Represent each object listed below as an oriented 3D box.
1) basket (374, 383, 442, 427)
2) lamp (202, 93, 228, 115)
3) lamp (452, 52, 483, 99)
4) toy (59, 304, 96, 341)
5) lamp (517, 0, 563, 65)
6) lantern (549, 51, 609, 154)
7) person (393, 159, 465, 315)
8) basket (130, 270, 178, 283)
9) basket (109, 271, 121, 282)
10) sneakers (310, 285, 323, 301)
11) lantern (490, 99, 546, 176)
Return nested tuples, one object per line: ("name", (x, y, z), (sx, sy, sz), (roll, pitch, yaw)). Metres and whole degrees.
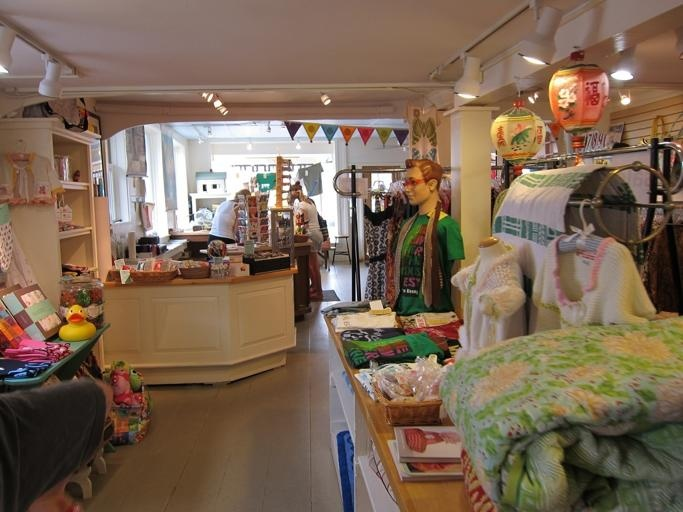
("basket", (0.285, 0.620, 1.980), (0.299, 0.122, 0.356), (0, -2, -4))
("lamp", (-1.579, -1.891, 5.930), (0.315, 0.173, 1.103), (-2, 10, -13))
("lamp", (0.944, -1.315, 3.513), (0.165, 0.299, 0.276), (5, 10, 31))
("toy", (-1.759, 0.437, 3.174), (0.217, 0.200, 0.224), (1, -5, -21))
("lamp", (1.090, -1.199, 2.596), (0.179, 0.280, 0.126), (0, 9, -3))
("lantern", (1.228, -0.802, 2.467), (0.273, 0.369, 0.150), (4, 10, 25))
("person", (0.620, -0.132, 3.459), (0.483, 1.104, 0.359), (1, 9, 4))
("basket", (-1.774, 0.196, 4.440), (0.391, 0.114, 0.094), (-2, 9, -14))
("basket", (-2.154, 0.188, 4.513), (0.113, 0.084, 0.108), (-2, 0, -7))
("sneakers", (-0.431, 0.645, 8.013), (0.234, 0.239, 0.152), (-3, 6, -14))
("lantern", (1.186, -0.788, 3.205), (0.325, 0.486, 0.216), (3, 9, 20))
